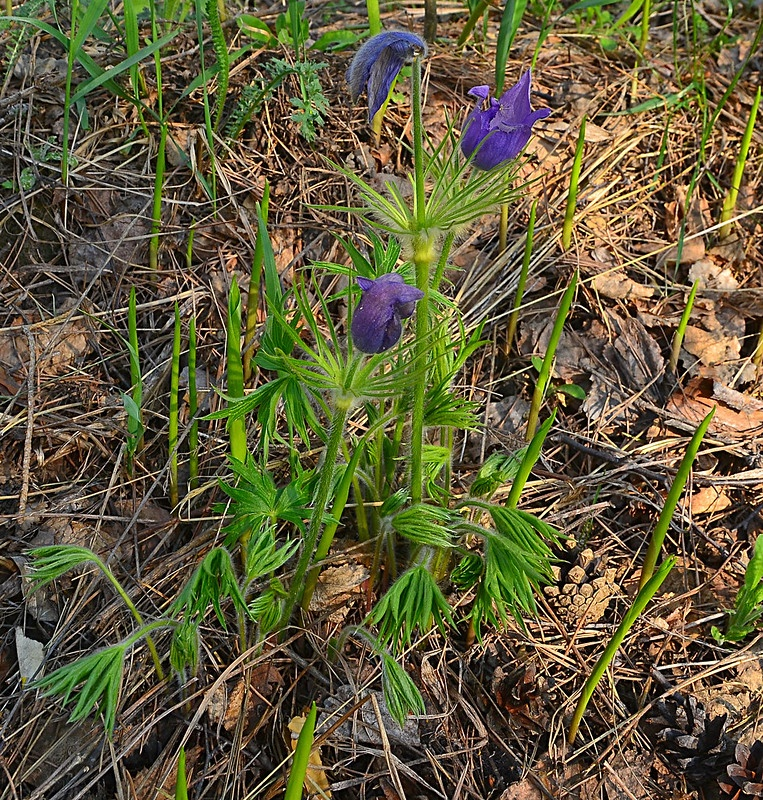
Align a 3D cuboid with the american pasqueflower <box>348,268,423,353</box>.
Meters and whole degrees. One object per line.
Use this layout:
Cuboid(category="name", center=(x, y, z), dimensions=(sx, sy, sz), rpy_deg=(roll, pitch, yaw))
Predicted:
Cuboid(category="american pasqueflower", center=(-0.008, -0.186, 1.786), dimensions=(0.143, 0.191, 0.135), rpy_deg=(21, 30, -6))
